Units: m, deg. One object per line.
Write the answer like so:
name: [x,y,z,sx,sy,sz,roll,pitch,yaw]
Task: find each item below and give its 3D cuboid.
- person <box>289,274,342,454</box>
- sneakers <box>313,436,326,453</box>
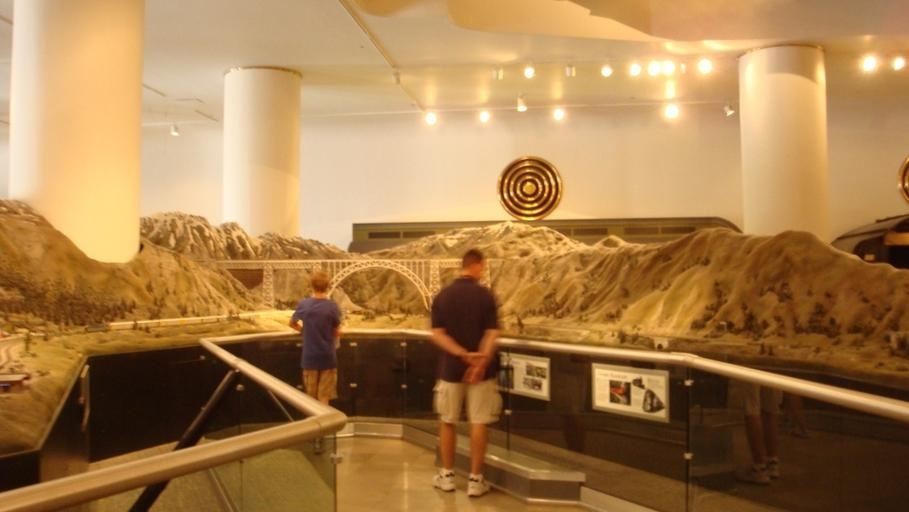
person: [-2.225,1.337,10.298,0.774,2.198,0.635,-2,5,-8]
sneakers: [-1.445,1.997,6.799,0.145,0.178,0.172,1,-10,1]
